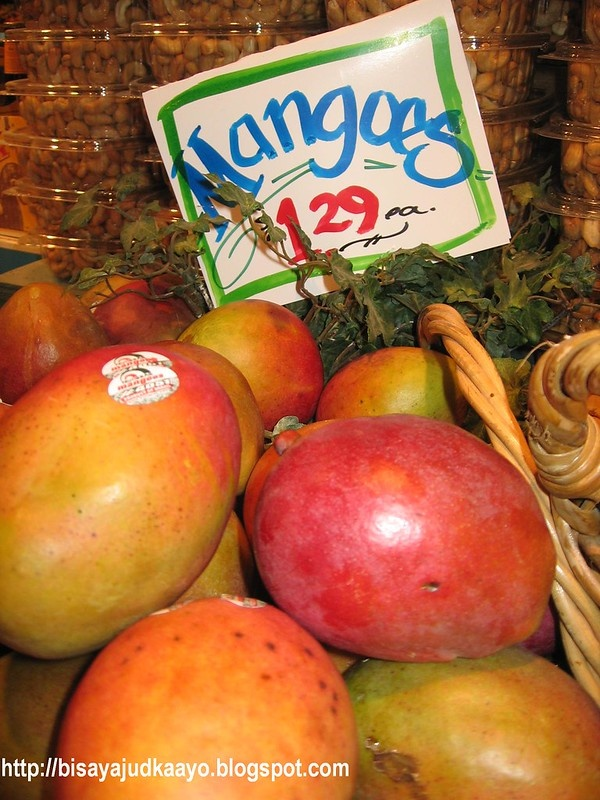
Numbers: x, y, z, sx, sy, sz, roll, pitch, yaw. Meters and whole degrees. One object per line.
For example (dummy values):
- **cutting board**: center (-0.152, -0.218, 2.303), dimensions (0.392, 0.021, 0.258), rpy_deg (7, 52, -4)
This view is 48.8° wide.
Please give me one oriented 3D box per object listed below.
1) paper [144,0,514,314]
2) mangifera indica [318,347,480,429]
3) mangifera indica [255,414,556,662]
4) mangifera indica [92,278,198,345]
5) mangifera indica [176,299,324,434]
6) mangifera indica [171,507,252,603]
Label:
- **paper**: center (0.027, -0.296, 0.822), dimensions (0.411, 0.302, 0.248), rpy_deg (-9, 50, -3)
- **mangifera indica**: center (0.097, -0.014, 0.680), dimensions (0.127, 0.086, 0.084), rpy_deg (-4, 85, -2)
- **mangifera indica**: center (0.066, 0.084, 0.432), dimensions (0.190, 0.111, 0.139), rpy_deg (2, 50, 6)
- **mangifera indica**: center (-0.196, -0.107, 0.868), dimensions (0.103, 0.059, 0.122), rpy_deg (20, 18, 25)
- **mangifera indica**: center (-0.036, -0.047, 0.778), dimensions (0.151, 0.159, 0.144), rpy_deg (10, 27, 20)
- **mangifera indica**: center (-0.072, 0.123, 0.528), dimensions (0.052, 0.052, 0.065), rpy_deg (-17, 67, 11)
